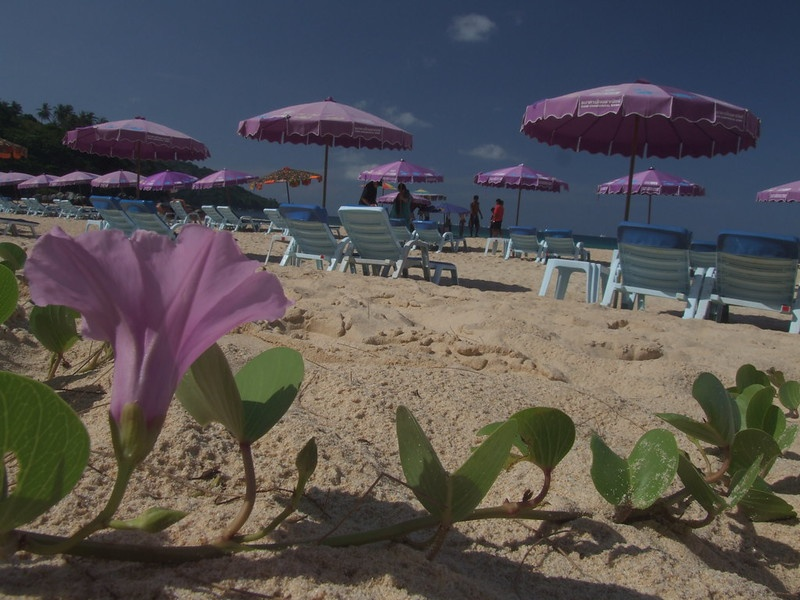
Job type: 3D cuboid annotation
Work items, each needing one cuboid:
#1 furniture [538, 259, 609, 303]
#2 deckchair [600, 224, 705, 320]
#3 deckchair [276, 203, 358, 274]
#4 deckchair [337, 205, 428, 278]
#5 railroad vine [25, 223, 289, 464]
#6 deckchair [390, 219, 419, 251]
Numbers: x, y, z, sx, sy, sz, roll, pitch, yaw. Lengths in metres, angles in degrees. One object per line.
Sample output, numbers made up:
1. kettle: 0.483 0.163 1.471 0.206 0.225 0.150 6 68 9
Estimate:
1. furniture: 1.710 -0.238 5.950 0.626 0.518 0.647 7 -4 32
2. deckchair: 2.309 -0.216 5.449 0.664 0.735 1.068 7 9 22
3. deckchair: -0.997 -0.788 7.234 0.580 0.677 0.977 4 10 19
4. deckchair: -0.215 -0.688 6.842 0.694 0.773 1.078 4 8 24
5. railroad vine: -0.341 -0.014 0.834 0.271 0.364 0.166 12 -37 -13
6. deckchair: 0.058 -1.059 9.093 0.374 0.380 0.578 11 25 24
